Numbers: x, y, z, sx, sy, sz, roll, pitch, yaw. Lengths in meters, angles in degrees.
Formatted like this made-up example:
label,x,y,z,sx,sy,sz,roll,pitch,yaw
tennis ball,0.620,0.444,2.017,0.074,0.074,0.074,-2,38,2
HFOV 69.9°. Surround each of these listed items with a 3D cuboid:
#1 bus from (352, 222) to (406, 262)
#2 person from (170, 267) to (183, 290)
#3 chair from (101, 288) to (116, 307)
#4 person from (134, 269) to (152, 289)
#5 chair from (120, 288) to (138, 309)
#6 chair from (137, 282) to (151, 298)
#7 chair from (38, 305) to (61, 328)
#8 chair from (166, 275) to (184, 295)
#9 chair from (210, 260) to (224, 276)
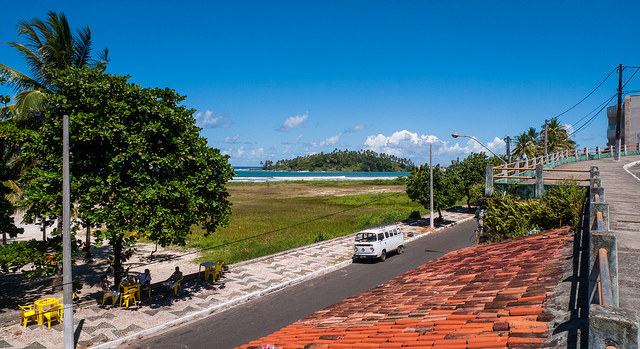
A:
label,x,y,z,sx,sy,sz,roll,pitch,yaw
bus,5.561,6.494,43.929,2.758,2.208,5.127,0,4,39
person,-11.208,8.166,36.225,0.807,1.590,0.374,-2,-2,-20
chair,-15.802,9.276,34.240,1.161,1.398,1.172,1,-3,-4
person,-13.560,8.176,35.501,0.944,1.449,0.517,-2,-2,-16
chair,-14.179,9.324,34.324,1.208,1.465,0.585,-2,-2,-24
chair,-13.468,8.946,35.285,1.199,1.456,1.131,1,-12,-8
chair,-18.945,10.016,32.297,1.390,1.640,1.325,4,2,37
chair,-11.537,8.957,36.296,0.988,1.269,0.976,-3,-4,22
chair,-8.693,7.925,38.879,1.157,1.330,1.124,8,-9,-14
